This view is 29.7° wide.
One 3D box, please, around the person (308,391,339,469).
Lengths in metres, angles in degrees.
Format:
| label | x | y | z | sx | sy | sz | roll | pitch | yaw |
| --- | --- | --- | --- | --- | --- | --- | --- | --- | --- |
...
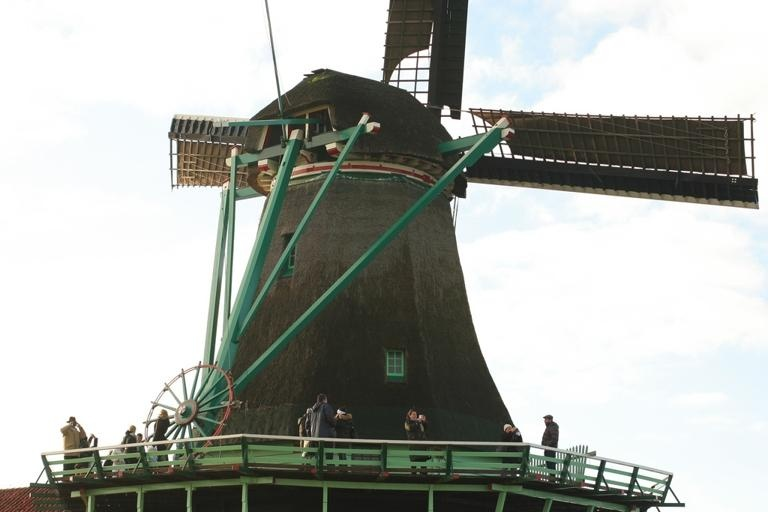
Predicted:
| label | x | y | z | sx | sy | sz | roll | pitch | yaw |
| --- | --- | --- | --- | --- | --- | --- | --- | --- | --- |
| person | -1.458 | 4.334 | 36.368 | 0.702 | 1.895 | 1.191 | 5 | -24 | -2 |

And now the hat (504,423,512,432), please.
| label | x | y | z | sx | sy | sz | roll | pitch | yaw |
| --- | --- | --- | --- | --- | --- | --- | --- | --- | --- |
| hat | 3.383 | 4.661 | 39.160 | 0.176 | 0.146 | 0.212 | 4 | -13 | -14 |
